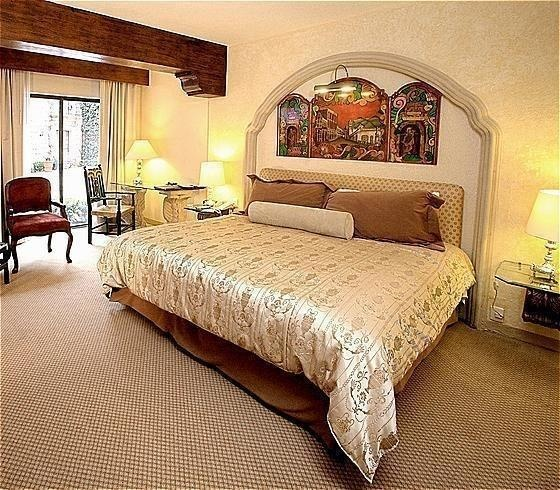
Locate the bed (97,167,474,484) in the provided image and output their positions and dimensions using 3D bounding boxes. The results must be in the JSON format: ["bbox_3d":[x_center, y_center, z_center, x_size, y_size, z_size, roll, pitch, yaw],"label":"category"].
[{"bbox_3d":[0.468,0.486,2.981,2.369,1.045,1.960,11,18,40],"label":"bed"}]

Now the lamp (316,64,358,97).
[{"bbox_3d":[0.568,-1.703,3.992,0.385,0.247,0.209,-6,1,12],"label":"lamp"}]

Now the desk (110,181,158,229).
[{"bbox_3d":[-2.548,-0.624,6.758,0.551,0.613,0.554,-18,15,-36],"label":"desk"}]

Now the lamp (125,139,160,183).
[{"bbox_3d":[-2.303,-1.448,6.572,0.489,0.760,0.508,-14,29,-40],"label":"lamp"}]

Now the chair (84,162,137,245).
[{"bbox_3d":[-2.625,-0.630,6.062,0.652,1.111,0.656,2,15,-9],"label":"chair"}]

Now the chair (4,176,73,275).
[{"bbox_3d":[-3.041,-0.307,4.912,0.659,1.049,0.985,-7,16,-33],"label":"chair"}]

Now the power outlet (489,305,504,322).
[{"bbox_3d":[1.917,0.595,3.440,0.021,0.153,0.145,-8,12,-38],"label":"power outlet"}]
